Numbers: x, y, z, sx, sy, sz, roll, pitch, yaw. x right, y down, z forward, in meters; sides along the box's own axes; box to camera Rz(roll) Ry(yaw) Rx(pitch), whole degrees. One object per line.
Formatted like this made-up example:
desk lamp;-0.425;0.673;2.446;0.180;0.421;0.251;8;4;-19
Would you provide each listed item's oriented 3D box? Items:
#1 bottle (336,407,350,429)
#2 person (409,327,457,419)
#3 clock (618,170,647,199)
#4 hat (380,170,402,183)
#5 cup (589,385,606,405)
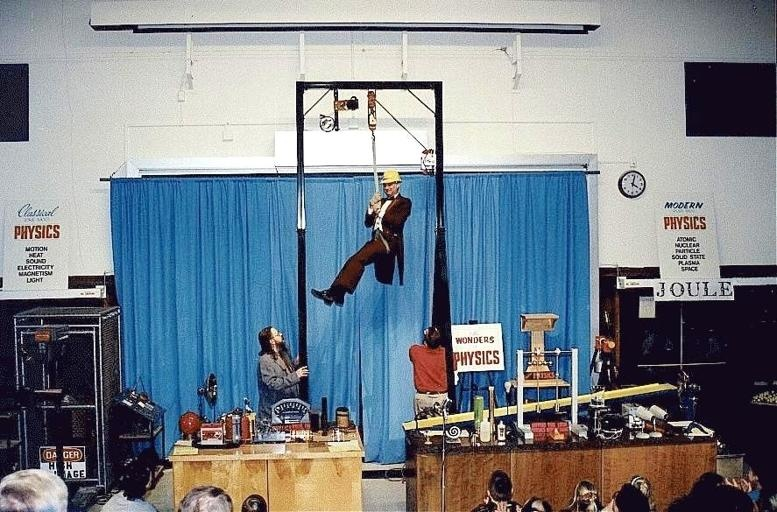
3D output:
bottle;-0.618;2.228;20.375;0.201;0.281;0.232;-2;-3;-3
person;0.614;1.903;21.327;0.548;2.187;0.570;-4;29;-3
clock;3.641;-1.081;21.926;0.336;0.450;0.088;4;2;-8
hat;0.040;-1.123;20.770;0.244;0.193;0.213;-2;-3;-6
cup;2.901;1.936;20.424;0.207;0.264;0.229;2;3;26
